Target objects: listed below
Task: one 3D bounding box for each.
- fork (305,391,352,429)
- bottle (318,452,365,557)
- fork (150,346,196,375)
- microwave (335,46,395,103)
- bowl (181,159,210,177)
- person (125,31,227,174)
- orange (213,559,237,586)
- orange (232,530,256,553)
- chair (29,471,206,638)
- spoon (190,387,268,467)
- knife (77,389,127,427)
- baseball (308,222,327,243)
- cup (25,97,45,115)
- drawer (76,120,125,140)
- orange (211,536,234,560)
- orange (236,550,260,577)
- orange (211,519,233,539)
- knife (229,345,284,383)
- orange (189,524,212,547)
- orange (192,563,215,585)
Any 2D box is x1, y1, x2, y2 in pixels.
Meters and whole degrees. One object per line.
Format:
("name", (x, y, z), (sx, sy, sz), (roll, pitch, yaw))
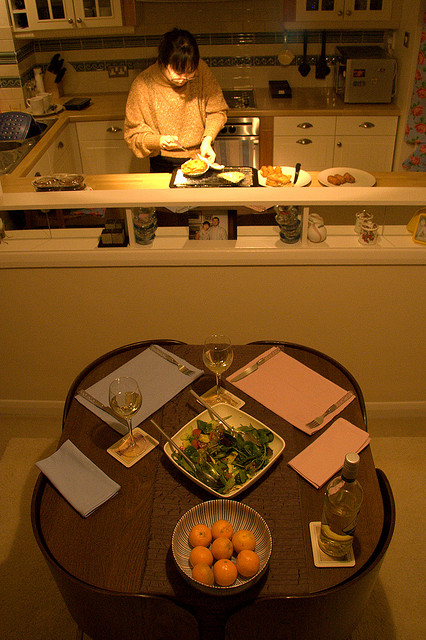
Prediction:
("fork", (0.327, 0.250, 1.199), (0.203, 0.013, 0.026), (-27, 43, -32))
("bottle", (0.244, 0.349, 0.825), (0.067, 0.244, 0.064), (-1, 30, 0))
("fork", (-0.137, 0.133, 1.406), (0.031, 0.011, 0.209), (-30, 44, -35))
("microwave", (1.406, -2.293, 4.051), (0.486, 0.413, 0.595), (3, 35, 7))
("bowl", (-0.092, -0.757, 2.156), (0.129, 0.049, 0.143), (7, 36, 12))
("person", (-0.268, -1.395, 2.856), (0.680, 0.844, 0.567), (1, 34, 5))
("orange", (0.020, 0.426, 0.733), (0.034, 0.036, 0.036), (0, 21, -10))
("orange", (0.057, 0.403, 0.789), (0.034, 0.036, 0.035), (3, 24, 0))
("chair", (-0.182, 0.525, 0.870), (0.234, 0.224, 0.302), (-11, 16, -20))
("spoon", (0.036, 0.278, 1.128), (0.087, 0.038, 0.266), (-20, 48, -40))
("knife", (-0.302, 0.246, 1.192), (0.028, 0.019, 0.238), (-42, 44, -20))
("baseball", (0.460, -0.389, 1.929), (0.076, 0.076, 0.078), (23, 45, 40))
("cup", (-1.549, -1.886, 3.826), (0.120, 0.137, 0.109), (-13, 36, -16))
("drawer", (-1.055, -1.737, 3.914), (0.261, 0.133, 0.173), (0, 38, -3))
("orange", (0.017, 0.410, 0.777), (0.034, 0.035, 0.035), (-4, 35, -23))
("orange", (0.061, 0.423, 0.756), (0.038, 0.036, 0.038), (15, 38, 23))
("orange", (0.017, 0.393, 0.819), (0.031, 0.032, 0.032), (-9, 67, 1))
("knife", (0.138, 0.145, 1.372), (0.031, 0.024, 0.222), (31, 42, 30))
("orange", (-0.022, 0.401, 0.814), (0.035, 0.036, 0.037), (-2, 70, 29))
("orange", (-0.016, 0.431, 0.735), (0.032, 0.033, 0.030), (15, 26, 22))
